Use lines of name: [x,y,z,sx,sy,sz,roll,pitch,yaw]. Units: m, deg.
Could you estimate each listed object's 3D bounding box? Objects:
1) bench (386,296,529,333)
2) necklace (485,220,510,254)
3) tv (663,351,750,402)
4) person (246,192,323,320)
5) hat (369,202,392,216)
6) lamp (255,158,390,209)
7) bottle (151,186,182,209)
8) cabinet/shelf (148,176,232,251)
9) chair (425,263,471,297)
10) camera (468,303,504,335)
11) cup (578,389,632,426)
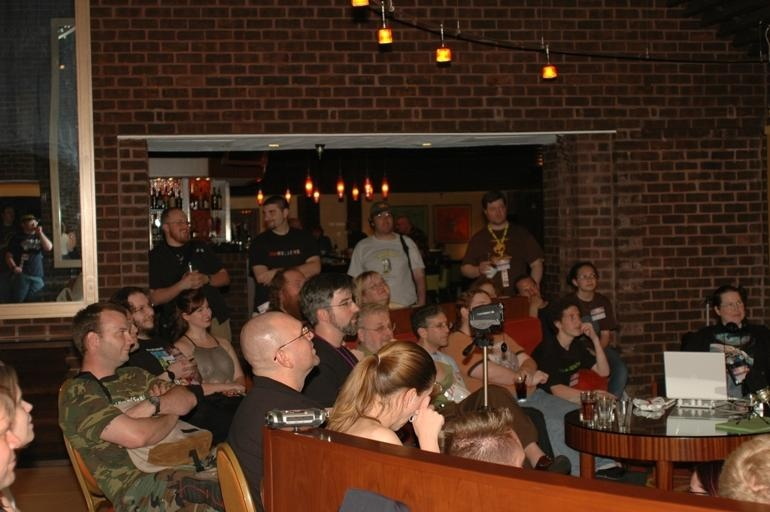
bench: [0.827,0.726,9.082,1.558,0.470,0.446,-7,3,7]
necklace: [1.288,-0.207,9.791,0.245,0.354,0.101,-1,-8,6]
tv: [2.698,1.117,7.517,0.548,0.382,0.432,-6,-23,26]
person: [-1.089,0.316,9.467,0.734,1.844,0.523,-2,10,-20]
hat: [-0.046,-0.527,9.657,0.211,0.174,0.297,0,-1,-1]
lamp: [-0.976,-1.477,16.757,2.083,0.543,1.072,2,-3,-14]
bottle: [-3.133,-0.841,12.354,0.587,0.350,0.310,-4,-3,-38]
cabinet/shelf: [-2.889,-0.619,12.734,1.190,0.967,0.352,-1,3,-16]
chair: [1.154,0.462,15.929,0.772,0.839,0.692,1,-2,-12]
camera: [0.755,0.455,6.457,0.262,0.188,0.096,-2,7,5]
cup: [1.818,1.273,7.205,0.300,0.202,0.335,0,-10,-5]
